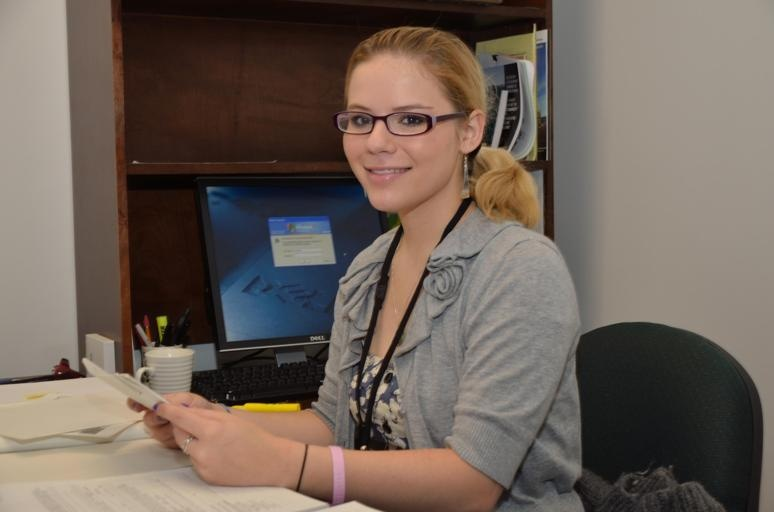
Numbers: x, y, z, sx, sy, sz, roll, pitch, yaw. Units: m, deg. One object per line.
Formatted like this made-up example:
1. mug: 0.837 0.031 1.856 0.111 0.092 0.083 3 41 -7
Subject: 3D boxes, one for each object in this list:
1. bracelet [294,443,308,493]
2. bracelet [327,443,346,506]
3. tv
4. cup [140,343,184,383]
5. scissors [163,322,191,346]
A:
1. bracelet: -0.167 0.438 1.289 0.016 0.062 0.067 10 -39 -5
2. bracelet: -0.101 0.452 1.317 0.020 0.084 0.079 -5 -2 -6
3. tv: -0.325 0.031 2.106 0.630 0.533 0.070 -7 1 -22
4. cup: -0.648 0.312 1.902 0.152 0.106 0.096 -2 0 -14
5. scissors: -0.690 0.260 2.098 0.078 0.082 0.033 4 -11 -1
